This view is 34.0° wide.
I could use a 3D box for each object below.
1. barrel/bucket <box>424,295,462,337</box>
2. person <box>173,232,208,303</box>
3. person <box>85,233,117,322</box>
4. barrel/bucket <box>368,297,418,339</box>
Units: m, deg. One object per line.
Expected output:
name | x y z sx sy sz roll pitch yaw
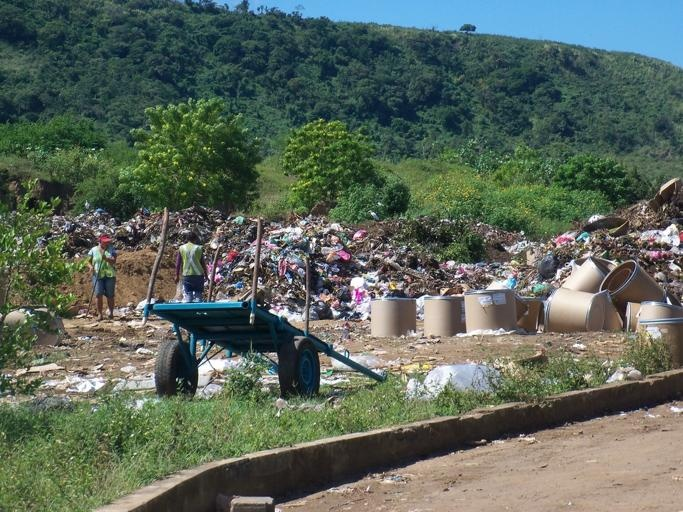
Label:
barrel/bucket | 3.471 2.074 37.875 1.132 1.552 1.264 -1 -3 18
person | -5.037 0.591 37.403 0.903 3.027 0.831 -6 16 -19
person | -8.521 0.700 39.725 0.857 3.072 0.874 -1 7 -2
barrel/bucket | 1.793 2.171 38.447 1.158 1.578 1.163 0 2 0
